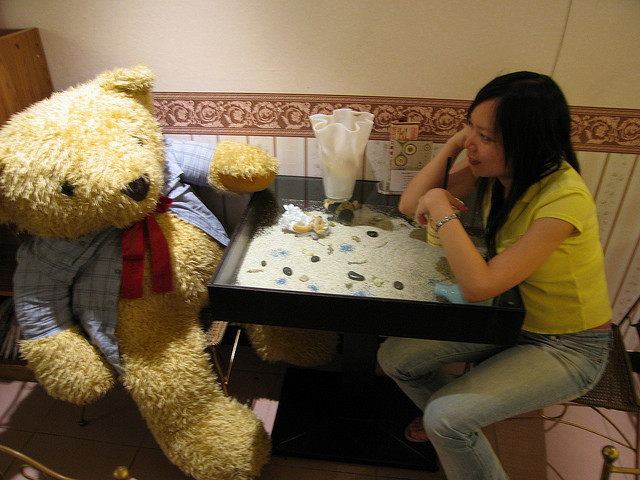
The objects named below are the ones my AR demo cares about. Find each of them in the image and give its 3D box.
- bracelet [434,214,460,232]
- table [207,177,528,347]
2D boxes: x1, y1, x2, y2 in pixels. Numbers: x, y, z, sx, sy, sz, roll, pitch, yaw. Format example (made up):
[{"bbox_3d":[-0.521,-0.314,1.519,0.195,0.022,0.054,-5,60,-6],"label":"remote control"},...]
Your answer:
[{"bbox_3d":[0.395,-0.051,1.456,0.066,0.065,0.040,8,38,9],"label":"bracelet"},{"bbox_3d":[0.152,0.043,1.671,0.902,0.633,0.630,4,30,2],"label":"table"}]
